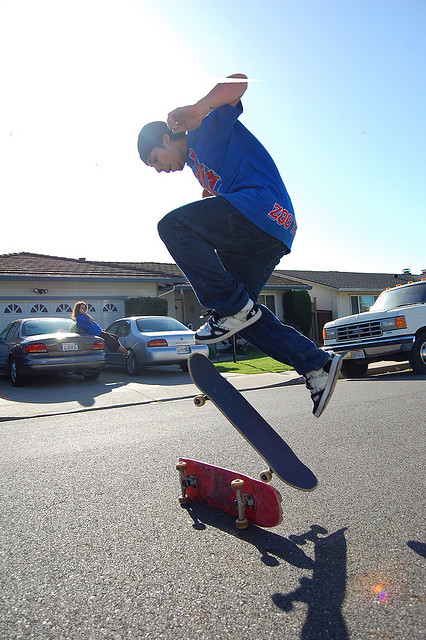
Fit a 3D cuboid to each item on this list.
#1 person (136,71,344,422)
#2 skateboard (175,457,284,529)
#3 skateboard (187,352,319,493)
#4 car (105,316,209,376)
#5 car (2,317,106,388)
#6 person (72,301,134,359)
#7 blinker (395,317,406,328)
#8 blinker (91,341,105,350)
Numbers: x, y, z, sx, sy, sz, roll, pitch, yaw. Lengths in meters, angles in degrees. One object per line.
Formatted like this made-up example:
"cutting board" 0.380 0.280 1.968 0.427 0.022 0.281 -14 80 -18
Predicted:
"person" 0.064 -0.494 2.533 0.887 1.953 1.316 -11 -28 1
"skateboard" 0.089 0.797 2.069 0.092 0.224 0.619 3 3 -43
"skateboard" 0.326 0.787 3.481 0.286 1.154 0.170 -21 -25 -46
"car" -1.391 0.610 10.300 1.171 1.354 2.155 0 3 -42
"car" -3.320 0.659 9.172 1.607 1.351 1.698 1 3 -37
"person" -2.390 0.140 10.212 1.704 0.946 0.473 5 13 -18
"blinker" 3.389 0.042 8.001 0.185 0.186 0.051 3 3 2
"blinker" -2.356 0.512 9.011 0.214 0.125 0.109 -17 12 -17
